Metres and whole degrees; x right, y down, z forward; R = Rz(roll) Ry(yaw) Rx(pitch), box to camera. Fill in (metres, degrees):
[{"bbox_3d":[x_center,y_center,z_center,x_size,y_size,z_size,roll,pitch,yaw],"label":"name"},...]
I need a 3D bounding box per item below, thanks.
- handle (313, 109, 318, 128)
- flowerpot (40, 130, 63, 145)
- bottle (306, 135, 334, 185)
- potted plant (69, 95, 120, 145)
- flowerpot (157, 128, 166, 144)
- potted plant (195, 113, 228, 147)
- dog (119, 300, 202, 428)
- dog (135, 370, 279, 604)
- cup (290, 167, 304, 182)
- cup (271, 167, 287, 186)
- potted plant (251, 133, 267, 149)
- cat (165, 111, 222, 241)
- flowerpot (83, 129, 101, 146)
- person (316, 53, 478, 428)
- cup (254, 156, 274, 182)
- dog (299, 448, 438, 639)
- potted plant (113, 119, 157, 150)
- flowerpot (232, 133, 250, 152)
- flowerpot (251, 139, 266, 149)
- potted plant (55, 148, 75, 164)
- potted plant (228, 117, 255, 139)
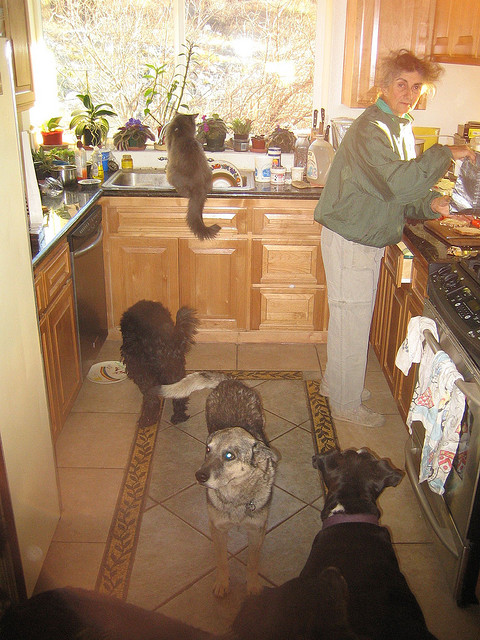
[{"bbox_3d":[0.614,-1.635,3.701,0.034,0.131,0.021,1,22,2],"label":"handle"},{"bbox_3d":[-1.543,-1.512,3.790,0.158,0.103,0.123,-9,26,-18],"label":"flowerpot"},{"bbox_3d":[0.612,-1.236,3.455,0.206,0.371,0.219,-8,27,4],"label":"bottle"},{"bbox_3d":[-1.264,-1.731,3.941,0.338,0.402,0.306,28,39,27],"label":"potted plant"},{"bbox_3d":[-0.678,-1.599,3.964,0.040,0.119,0.187,-6,25,-13],"label":"flowerpot"},{"bbox_3d":[-0.224,-1.619,3.952,0.251,0.260,0.183,14,-16,6],"label":"potted plant"},{"bbox_3d":[-0.397,0.207,2.641,0.301,0.646,1.194,-9,6,-24],"label":"dog"},{"bbox_3d":[-0.047,0.511,1.766,0.440,0.566,0.778,5,35,6],"label":"dog"},{"bbox_3d":[0.444,-1.109,3.489,0.093,0.090,0.173,2,25,6],"label":"cup"},{"bbox_3d":[0.281,-1.066,3.398,0.125,0.137,0.128,0,33,0],"label":"cup"},{"bbox_3d":[0.166,-1.521,3.924,0.143,0.109,0.135,-2,34,2],"label":"potted plant"},{"bbox_3d":[-0.328,-1.024,3.254,0.368,0.805,0.665,-4,25,-8],"label":"cat"},{"bbox_3d":[-1.229,-1.528,3.853,0.120,0.137,0.137,7,-5,-16],"label":"flowerpot"},{"bbox_3d":[0.670,-0.297,2.396,0.550,1.942,0.504,3,24,9],"label":"person"},{"bbox_3d":[0.184,-1.137,3.454,0.150,0.179,0.173,6,34,7],"label":"cup"},{"bbox_3d":[0.297,0.597,1.297,0.174,0.342,0.618,-6,36,10],"label":"dog"},{"bbox_3d":[-0.904,-1.568,3.890,0.277,0.199,0.284,-9,43,-16],"label":"potted plant"},{"bbox_3d":[0.012,-1.533,3.942,0.141,0.147,0.105,-1,24,-2],"label":"flowerpot"},{"bbox_3d":[0.170,-1.489,3.866,0.085,0.056,0.082,-4,39,-8],"label":"flowerpot"},{"bbox_3d":[-1.365,-1.281,3.562,0.140,0.073,0.144,2,34,-10],"label":"potted plant"},{"bbox_3d":[0.036,-1.661,3.943,0.155,0.160,0.159,-2,36,-5],"label":"potted plant"}]
